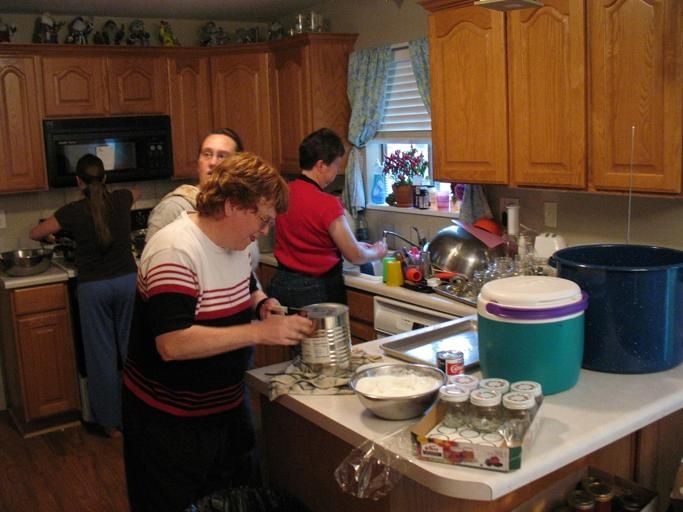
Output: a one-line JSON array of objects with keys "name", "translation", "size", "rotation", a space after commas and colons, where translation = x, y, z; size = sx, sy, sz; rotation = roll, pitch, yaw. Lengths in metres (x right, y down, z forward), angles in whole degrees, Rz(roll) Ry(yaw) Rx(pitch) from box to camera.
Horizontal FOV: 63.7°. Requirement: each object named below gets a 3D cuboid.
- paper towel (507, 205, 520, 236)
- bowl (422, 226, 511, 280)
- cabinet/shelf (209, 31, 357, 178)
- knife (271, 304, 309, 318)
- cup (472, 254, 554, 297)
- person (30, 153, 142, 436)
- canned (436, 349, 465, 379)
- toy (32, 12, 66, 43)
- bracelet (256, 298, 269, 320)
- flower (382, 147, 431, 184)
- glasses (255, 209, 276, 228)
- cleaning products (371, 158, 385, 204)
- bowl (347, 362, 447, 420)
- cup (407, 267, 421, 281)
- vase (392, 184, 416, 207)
[{"name": "paper towel", "translation": [1.005, -0.209, 3.231], "size": [0.065, 0.172, 0.059], "rotation": [-3, 9, 9]}, {"name": "bowl", "translation": [0.726, -0.039, 3.181], "size": [0.333, 0.185, 0.329], "rotation": [25, 2, -1]}, {"name": "cabinet/shelf", "translation": [-0.604, -1.311, 4.770], "size": [0.969, 1.359, 1.493], "rotation": [-3, 7, -26]}, {"name": "knife", "translation": [-0.196, 0.207, 2.083], "size": [0.114, 0.030, 0.118], "rotation": [-7, 9, -41]}, {"name": "cup", "translation": [0.898, 0.100, 2.919], "size": [0.406, 0.196, 0.257], "rotation": [-2, 9, 13]}, {"name": "person", "translation": [-1.761, 0.266, 4.023], "size": [0.825, 1.910, 0.677], "rotation": [-9, 14, -34]}, {"name": "canned", "translation": [0.353, 0.349, 1.799], "size": [0.075, 0.080, 0.074], "rotation": [-1, 10, -2]}, {"name": "toy", "translation": [-2.269, -1.782, 4.255], "size": [0.131, 0.233, 0.249], "rotation": [11, 20, 26]}, {"name": "bracelet", "translation": [-0.309, 0.206, 2.119], "size": [0.029, 0.073, 0.066], "rotation": [5, -3, 5]}, {"name": "flower", "translation": [0.485, -0.659, 4.113], "size": [0.280, 0.184, 0.275], "rotation": [1, 20, 4]}, {"name": "glasses", "translation": [-0.247, -0.124, 1.806], "size": [0.044, 0.040, 0.055], "rotation": [-6, 18, -30]}, {"name": "cleaning products", "translation": [0.306, -0.589, 4.435], "size": [0.144, 0.324, 0.132], "rotation": [3, 10, 34]}, {"name": "bowl", "translation": [0.167, 0.412, 1.659], "size": [0.289, 0.095, 0.284], "rotation": [-6, 6, 1]}, {"name": "cup", "translation": [0.418, 0.111, 3.245], "size": [0.071, 0.071, 0.074], "rotation": [-3, 24, 1]}, {"name": "vase", "translation": [0.463, -0.456, 4.125], "size": [0.166, 0.145, 0.165], "rotation": [-4, 14, -16]}]
